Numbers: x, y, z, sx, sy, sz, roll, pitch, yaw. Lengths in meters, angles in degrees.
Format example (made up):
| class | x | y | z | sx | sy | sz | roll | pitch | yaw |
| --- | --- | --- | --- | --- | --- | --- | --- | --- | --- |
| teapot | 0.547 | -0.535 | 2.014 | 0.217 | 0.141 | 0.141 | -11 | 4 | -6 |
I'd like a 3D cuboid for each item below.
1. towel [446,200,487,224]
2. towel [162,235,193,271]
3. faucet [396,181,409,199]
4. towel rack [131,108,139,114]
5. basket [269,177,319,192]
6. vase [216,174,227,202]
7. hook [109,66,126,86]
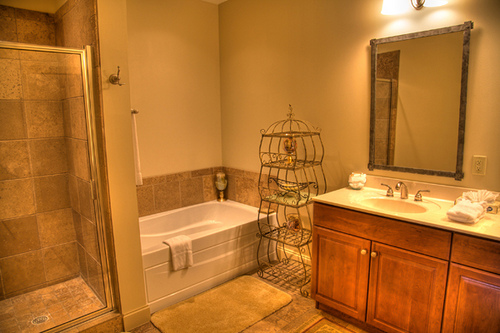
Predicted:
| class | x | y | z | sx | sy | sz | roll | pitch | yaw |
| --- | --- | --- | --- | --- | --- | --- | --- | --- | --- |
| towel | 1.788 | 0.363 | 2.963 | 0.335 | 0.148 | 0.185 | -8 | 13 | -39 |
| towel | -0.703 | 0.862 | 3.651 | 0.269 | 0.334 | 0.117 | -10 | 1 | -27 |
| faucet | 1.454 | 0.217 | 3.426 | 0.160 | 0.160 | 0.107 | 1 | 10 | 1 |
| towel rack | -1.242 | -0.597 | 3.897 | 0.053 | 0.069 | 0.761 | -3 | 10 | -15 |
| basket | 0.507 | 0.198 | 4.074 | 0.418 | 0.126 | 0.392 | 8 | 12 | 36 |
| vase | -0.394 | 0.278 | 4.958 | 0.143 | 0.375 | 0.136 | -1 | 11 | -6 |
| hook | -1.173 | -0.799 | 3.179 | 0.138 | 0.158 | 0.055 | -3 | 11 | -18 |
